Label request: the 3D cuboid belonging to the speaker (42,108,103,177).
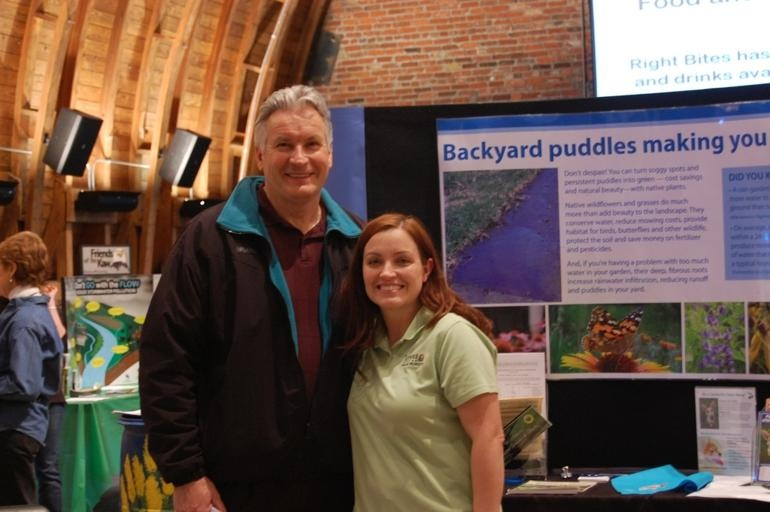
[{"bbox_3d":[-3.585,-1.311,8.482,0.446,0.693,0.500,7,-9,-44],"label":"speaker"}]
